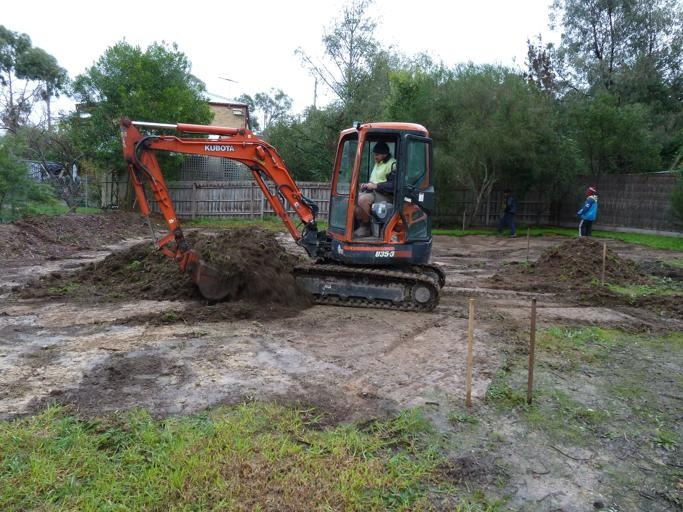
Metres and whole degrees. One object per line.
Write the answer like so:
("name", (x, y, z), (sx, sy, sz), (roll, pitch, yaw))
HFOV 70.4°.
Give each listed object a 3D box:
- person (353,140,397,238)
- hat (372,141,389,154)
("person", (0.609, -1.195, 8.697), (0.698, 1.700, 0.270), (1, 8, 4))
("hat", (0.705, -1.937, 8.696), (0.227, 0.175, 0.222), (21, 23, 28))
